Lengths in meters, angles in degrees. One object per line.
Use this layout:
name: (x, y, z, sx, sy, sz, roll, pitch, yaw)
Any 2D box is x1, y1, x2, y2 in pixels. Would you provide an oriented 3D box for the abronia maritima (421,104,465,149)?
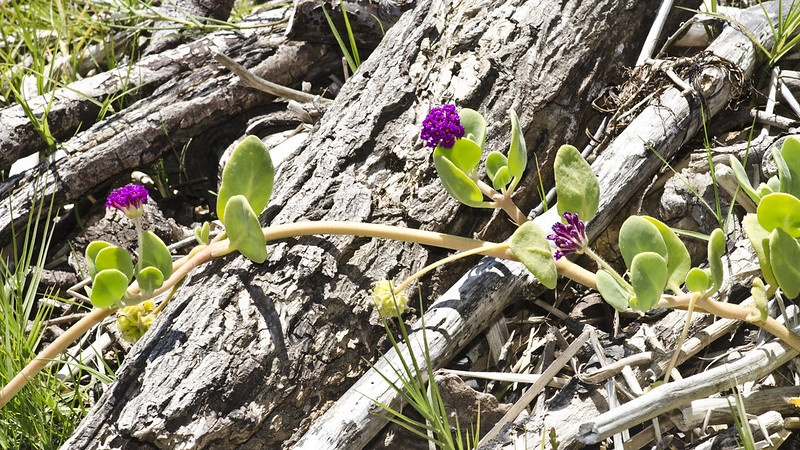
abronia maritima: (0.220, -0.520, 4.187, 0.201, 0.209, 0.238, -13, 8, -43)

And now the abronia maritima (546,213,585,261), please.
abronia maritima: (0.848, 0.064, 4.044, 0.133, 0.211, 0.231, 17, 50, 5)

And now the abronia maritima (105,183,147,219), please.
abronia maritima: (-1.404, -0.127, 4.143, 0.180, 0.150, 0.181, -32, 0, -4)
